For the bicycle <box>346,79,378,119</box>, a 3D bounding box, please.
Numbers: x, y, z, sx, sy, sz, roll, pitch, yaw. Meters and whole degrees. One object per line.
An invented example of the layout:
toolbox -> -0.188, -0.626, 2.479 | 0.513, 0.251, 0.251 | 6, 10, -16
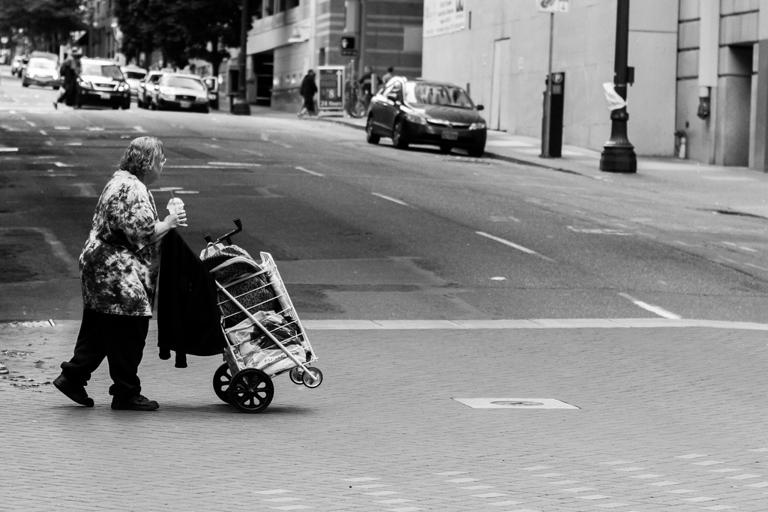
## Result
bicycle -> -1.107, -7.171, 52.602 | 2.013, 1.317, 1.040 | -10, 14, 6

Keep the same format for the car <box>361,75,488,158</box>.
car -> 1.162, -4.151, 33.797 | 2.590, 2.074, 4.373 | -4, 13, -31

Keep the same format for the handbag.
handbag -> -1.136, 0.260, 9.902 | 0.548, 0.720, 0.704 | -3, 8, 14

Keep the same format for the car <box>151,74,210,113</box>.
car -> -8.985, -7.325, 51.732 | 2.436, 1.540, 2.204 | -3, 12, -26

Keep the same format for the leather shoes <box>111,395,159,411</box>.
leather shoes -> -2.009, 1.217, 9.508 | 0.369, 0.170, 0.148 | -1, 6, -2

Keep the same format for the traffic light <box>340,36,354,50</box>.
traffic light -> -1.455, -9.009, 48.504 | 0.607, 0.652, 0.469 | 1, 9, -2

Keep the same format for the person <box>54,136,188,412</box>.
person -> -2.108, 0.311, 9.380 | 0.899, 1.978, 0.321 | 2, 9, 2

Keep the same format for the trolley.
trolley -> -1.273, 0.485, 9.949 | 1.168, 1.679, 1.083 | -8, -4, -13
